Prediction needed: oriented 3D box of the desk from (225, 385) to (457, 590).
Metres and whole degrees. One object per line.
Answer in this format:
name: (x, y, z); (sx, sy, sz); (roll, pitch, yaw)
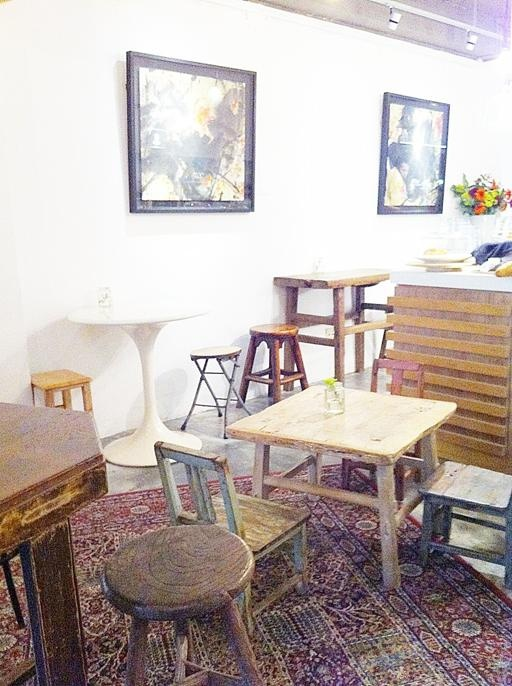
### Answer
desk: (0.389, 0.390, 2.355); (0.825, 0.593, 0.826); (7, 17, 31)

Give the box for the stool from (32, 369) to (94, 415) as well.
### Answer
stool: (-1.077, 0.259, 2.998); (0.245, 0.240, 0.241); (-11, 17, -41)

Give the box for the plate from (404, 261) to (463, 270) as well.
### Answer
plate: (1.097, -0.469, 3.300); (0.311, 0.053, 0.113); (2, 10, 18)

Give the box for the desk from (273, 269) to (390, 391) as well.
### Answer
desk: (0.632, -0.130, 4.830); (0.476, 0.856, 1.075); (8, 14, 39)

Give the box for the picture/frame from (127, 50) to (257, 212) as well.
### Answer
picture/frame: (-0.457, -1.541, 4.002); (1.149, 1.052, 0.061); (-16, 28, -40)

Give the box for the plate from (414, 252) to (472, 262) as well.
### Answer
plate: (1.153, -0.531, 3.346); (0.281, 0.070, 0.268); (4, 10, 26)

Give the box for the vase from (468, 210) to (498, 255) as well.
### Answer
vase: (1.928, -0.961, 4.616); (0.203, 0.262, 0.352); (3, 10, 22)
